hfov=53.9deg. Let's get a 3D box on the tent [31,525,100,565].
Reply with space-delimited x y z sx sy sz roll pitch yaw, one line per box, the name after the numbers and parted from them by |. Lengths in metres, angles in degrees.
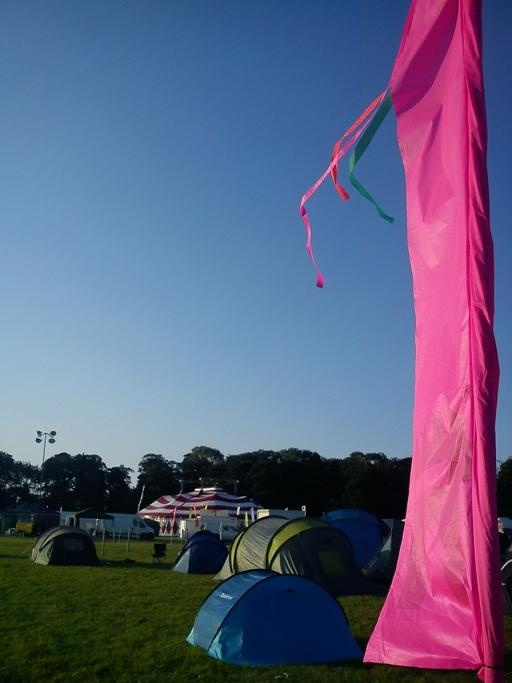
-6.833 7.325 18.059 2.567 1.197 1.502 -5 -17 18 | tent
